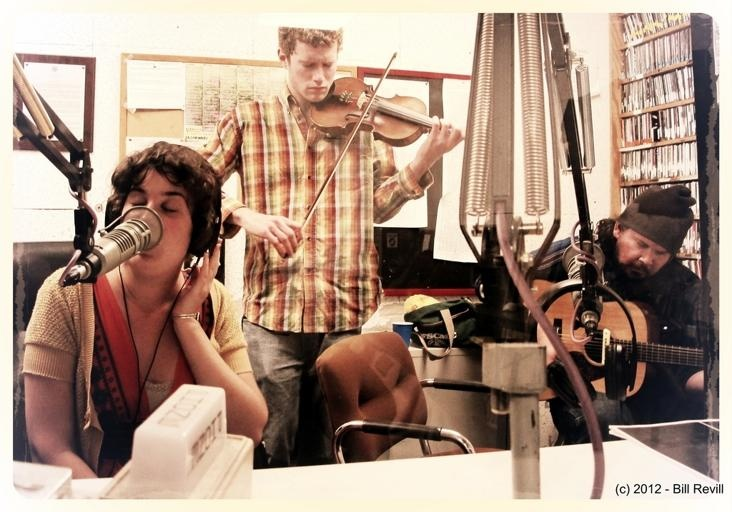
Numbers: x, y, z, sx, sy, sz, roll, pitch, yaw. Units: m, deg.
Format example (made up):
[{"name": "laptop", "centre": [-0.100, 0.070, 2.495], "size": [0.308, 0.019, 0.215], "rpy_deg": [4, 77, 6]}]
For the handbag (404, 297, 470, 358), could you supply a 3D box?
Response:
[{"name": "handbag", "centre": [0.258, 0.227, 2.046], "size": [0.176, 0.094, 0.222], "rpy_deg": [-4, 3, -9]}]

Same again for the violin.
[{"name": "violin", "centre": [0.058, -0.458, 2.128], "size": [0.472, 0.186, 0.098], "rpy_deg": [23, -3, 6]}]

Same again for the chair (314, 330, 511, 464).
[{"name": "chair", "centre": [0.159, 0.420, 2.210], "size": [0.509, 0.581, 0.462], "rpy_deg": [-6, 4, 44]}]

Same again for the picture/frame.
[{"name": "picture/frame", "centre": [-1.028, -0.493, 2.050], "size": [0.338, 0.368, 0.039], "rpy_deg": [-1, -8, -2]}]

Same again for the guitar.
[{"name": "guitar", "centre": [0.853, 0.281, 2.097], "size": [0.596, 0.407, 0.035], "rpy_deg": [1, 2, -4]}]

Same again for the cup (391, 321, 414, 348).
[{"name": "cup", "centre": [0.129, 0.257, 2.026], "size": [0.076, 0.071, 0.075], "rpy_deg": [0, -3, 0]}]
